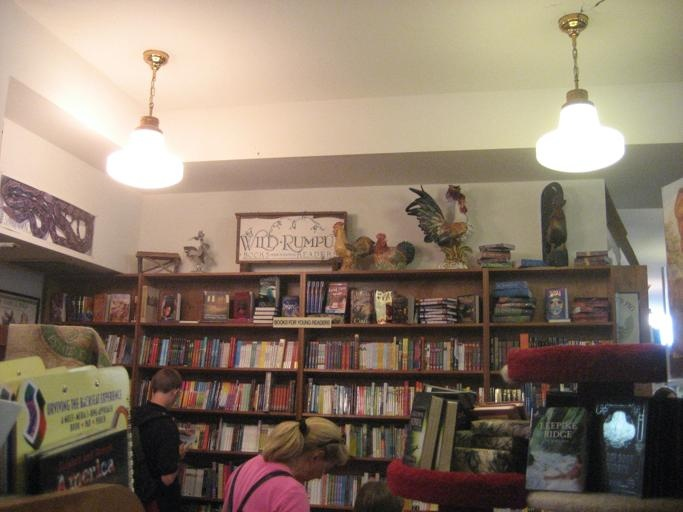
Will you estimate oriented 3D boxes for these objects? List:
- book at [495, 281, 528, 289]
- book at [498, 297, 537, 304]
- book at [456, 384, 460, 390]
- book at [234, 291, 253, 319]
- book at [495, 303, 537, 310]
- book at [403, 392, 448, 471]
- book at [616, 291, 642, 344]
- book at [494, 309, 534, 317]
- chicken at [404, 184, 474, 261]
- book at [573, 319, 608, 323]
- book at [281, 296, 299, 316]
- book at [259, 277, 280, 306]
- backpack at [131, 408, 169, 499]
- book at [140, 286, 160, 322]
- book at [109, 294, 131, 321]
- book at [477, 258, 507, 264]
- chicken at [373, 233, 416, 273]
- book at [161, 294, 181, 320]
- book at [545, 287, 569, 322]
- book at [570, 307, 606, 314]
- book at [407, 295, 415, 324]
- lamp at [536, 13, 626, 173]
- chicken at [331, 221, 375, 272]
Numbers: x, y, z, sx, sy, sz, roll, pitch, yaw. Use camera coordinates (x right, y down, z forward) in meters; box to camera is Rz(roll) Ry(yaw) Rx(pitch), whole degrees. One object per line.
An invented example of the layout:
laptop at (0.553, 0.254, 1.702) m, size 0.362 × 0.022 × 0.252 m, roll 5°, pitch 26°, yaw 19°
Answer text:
book at (1.507, 0.255, 4.967) m, size 0.259 × 0.059 × 0.056 m, roll -4°, pitch -9°, yaw 10°
book at (1.533, 0.388, 4.952) m, size 0.283 × 0.071 × 0.055 m, roll -4°, pitch -9°, yaw 10°
book at (1.060, 1.176, 5.042) m, size 0.029 × 0.040 × 0.041 m, roll -2°, pitch -4°, yaw 23°
book at (-0.955, 0.483, 5.485) m, size 0.236 × 0.331 × 0.126 m, roll -1°, pitch -9°, yaw 15°
book at (1.537, 0.436, 4.938) m, size 0.326 × 0.061 × 0.055 m, roll -3°, pitch -9°, yaw 6°
book at (0.295, 0.616, 1.994) m, size 0.047 × 0.203 × 0.204 m, roll 9°, pitch -4°, yaw -1°
book at (2.468, 0.521, 4.817) m, size 0.216 × 0.422 × 0.090 m, roll -3°, pitch -9°, yaw 6°
book at (1.518, 0.498, 4.933) m, size 0.328 × 0.068 × 0.074 m, roll -2°, pitch -9°, yaw 0°
chicken at (0.928, -0.292, 5.255) m, size 0.542 × 0.853 × 0.499 m, roll -4°, pitch -10°, yaw 14°
book at (2.152, 0.558, 4.821) m, size 0.282 × 0.049 × 0.034 m, roll -4°, pitch -9°, yaw 12°
book at (-0.483, 0.480, 5.349) m, size 0.180 × 0.203 × 0.029 m, roll -1°, pitch -20°, yaw 5°
book at (-0.688, 0.344, 5.406) m, size 0.241 × 0.330 × 0.183 m, roll -1°, pitch -12°, yaw 9°
backpack at (-1.330, 1.325, 3.744) m, size 0.261 × 0.611 × 0.181 m, roll -11°, pitch -13°, yaw 42°
book at (-1.930, 0.482, 5.614) m, size 0.137 × 0.318 × 0.342 m, roll -2°, pitch -5°, yaw 1°
book at (-2.242, 0.516, 5.656) m, size 0.245 × 0.247 × 0.058 m, roll -5°, pitch -12°, yaw 13°
book at (1.371, 0.042, 5.033) m, size 0.247 × 0.064 × 0.044 m, roll -3°, pitch -9°, yaw 7°
chicken at (0.485, -0.039, 5.237) m, size 0.404 × 0.321 × 0.273 m, roll -1°, pitch -12°, yaw -14°
book at (-1.708, 0.516, 5.643) m, size 0.230 × 0.232 × 0.057 m, roll -3°, pitch -16°, yaw 24°
book at (1.921, 0.428, 4.959) m, size 0.205 × 0.314 × 0.212 m, roll -5°, pitch -10°, yaw 16°
book at (2.161, 0.458, 4.850) m, size 0.269 × 0.053 × 0.024 m, roll -5°, pitch -10°, yaw 16°
book at (0.649, 0.494, 5.132) m, size 0.057 × 0.230 × 0.092 m, roll -8°, pitch -11°, yaw 34°
lamp at (1.434, -1.037, 3.400) m, size 0.451 × 0.769 × 0.448 m, roll -1°, pitch 30°, yaw 28°
chicken at (0.092, -0.061, 5.309) m, size 0.524 × 0.501 × 0.305 m, roll 2°, pitch -10°, yaw 2°
